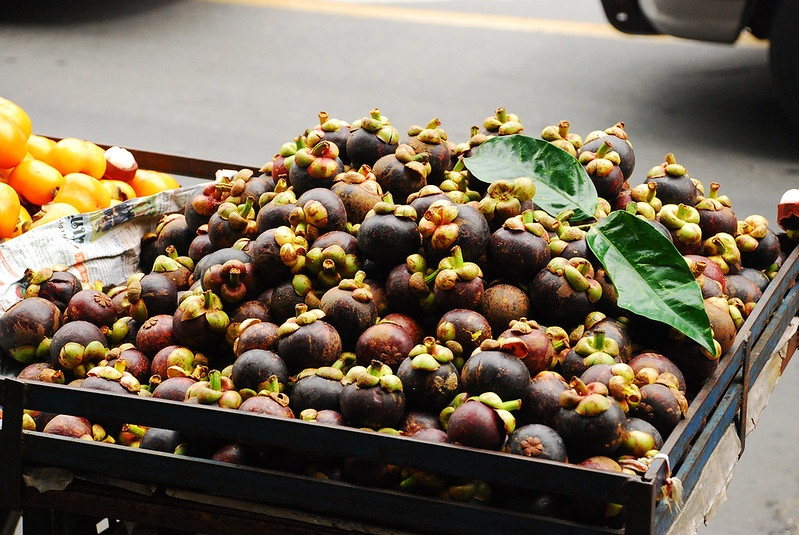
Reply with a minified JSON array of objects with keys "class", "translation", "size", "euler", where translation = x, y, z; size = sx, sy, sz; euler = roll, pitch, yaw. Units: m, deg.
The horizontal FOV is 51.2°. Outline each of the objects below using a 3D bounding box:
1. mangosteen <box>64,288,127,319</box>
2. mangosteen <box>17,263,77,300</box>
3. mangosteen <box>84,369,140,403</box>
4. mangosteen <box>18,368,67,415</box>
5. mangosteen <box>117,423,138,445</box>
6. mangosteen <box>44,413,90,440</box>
[{"class":"mangosteen","translation":[-1.048,0.131,2.856],"size":[0.125,0.101,0.127],"euler":[0,-6,-1]},{"class":"mangosteen","translation":[-1.291,0.050,3.082],"size":[0.146,0.167,0.149],"euler":[7,10,38]},{"class":"mangosteen","translation":[-0.890,0.356,2.611],"size":[0.137,0.075,0.105],"euler":[14,1,3]},{"class":"mangosteen","translation":[-1.175,0.402,2.759],"size":[0.138,0.096,0.170],"euler":[-1,2,1]},{"class":"mangosteen","translation":[-0.843,0.522,2.611],"size":[0.091,0.075,0.024],"euler":[12,9,34]},{"class":"mangosteen","translation":[-1.024,0.490,2.576],"size":[0.154,0.059,0.093],"euler":[8,7,7]}]
